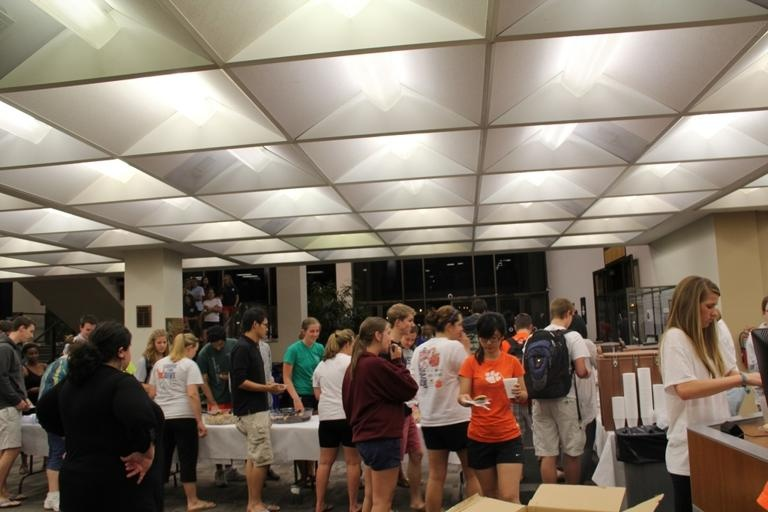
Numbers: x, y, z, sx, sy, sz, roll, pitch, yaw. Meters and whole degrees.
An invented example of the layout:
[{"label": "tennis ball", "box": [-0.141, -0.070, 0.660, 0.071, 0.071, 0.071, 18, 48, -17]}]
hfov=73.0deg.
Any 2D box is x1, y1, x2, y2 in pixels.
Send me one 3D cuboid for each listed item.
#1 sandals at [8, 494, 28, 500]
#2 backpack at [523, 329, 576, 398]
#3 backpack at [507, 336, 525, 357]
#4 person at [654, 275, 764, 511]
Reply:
[{"label": "sandals", "box": [-5.303, 3.473, 7.534, 0.213, 0.058, 0.085, -1, -5, 14]}, {"label": "backpack", "box": [1.942, 1.266, 6.208, 0.557, 0.787, 0.491, -9, -13, 36]}, {"label": "backpack", "box": [1.991, 1.381, 7.950, 0.279, 0.277, 0.256, 6, -12, -19]}, {"label": "person", "box": [2.361, 1.011, 3.843, 0.532, 1.730, 0.363, -3, -6, 7]}]
